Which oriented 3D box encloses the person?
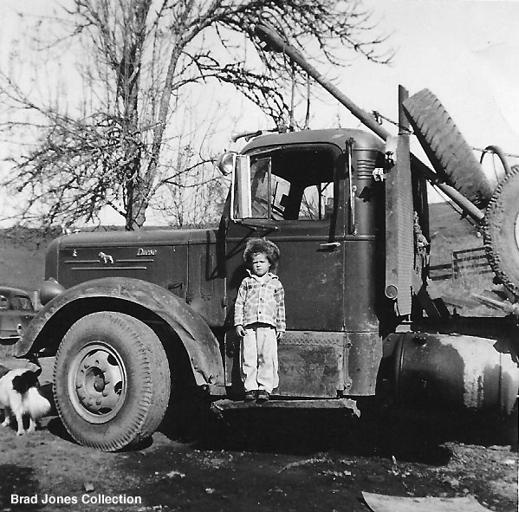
[{"bbox_3d":[-0.001,0.521,5.158,0.397,1.317,0.341,1,0,-3],"label":"person"}]
